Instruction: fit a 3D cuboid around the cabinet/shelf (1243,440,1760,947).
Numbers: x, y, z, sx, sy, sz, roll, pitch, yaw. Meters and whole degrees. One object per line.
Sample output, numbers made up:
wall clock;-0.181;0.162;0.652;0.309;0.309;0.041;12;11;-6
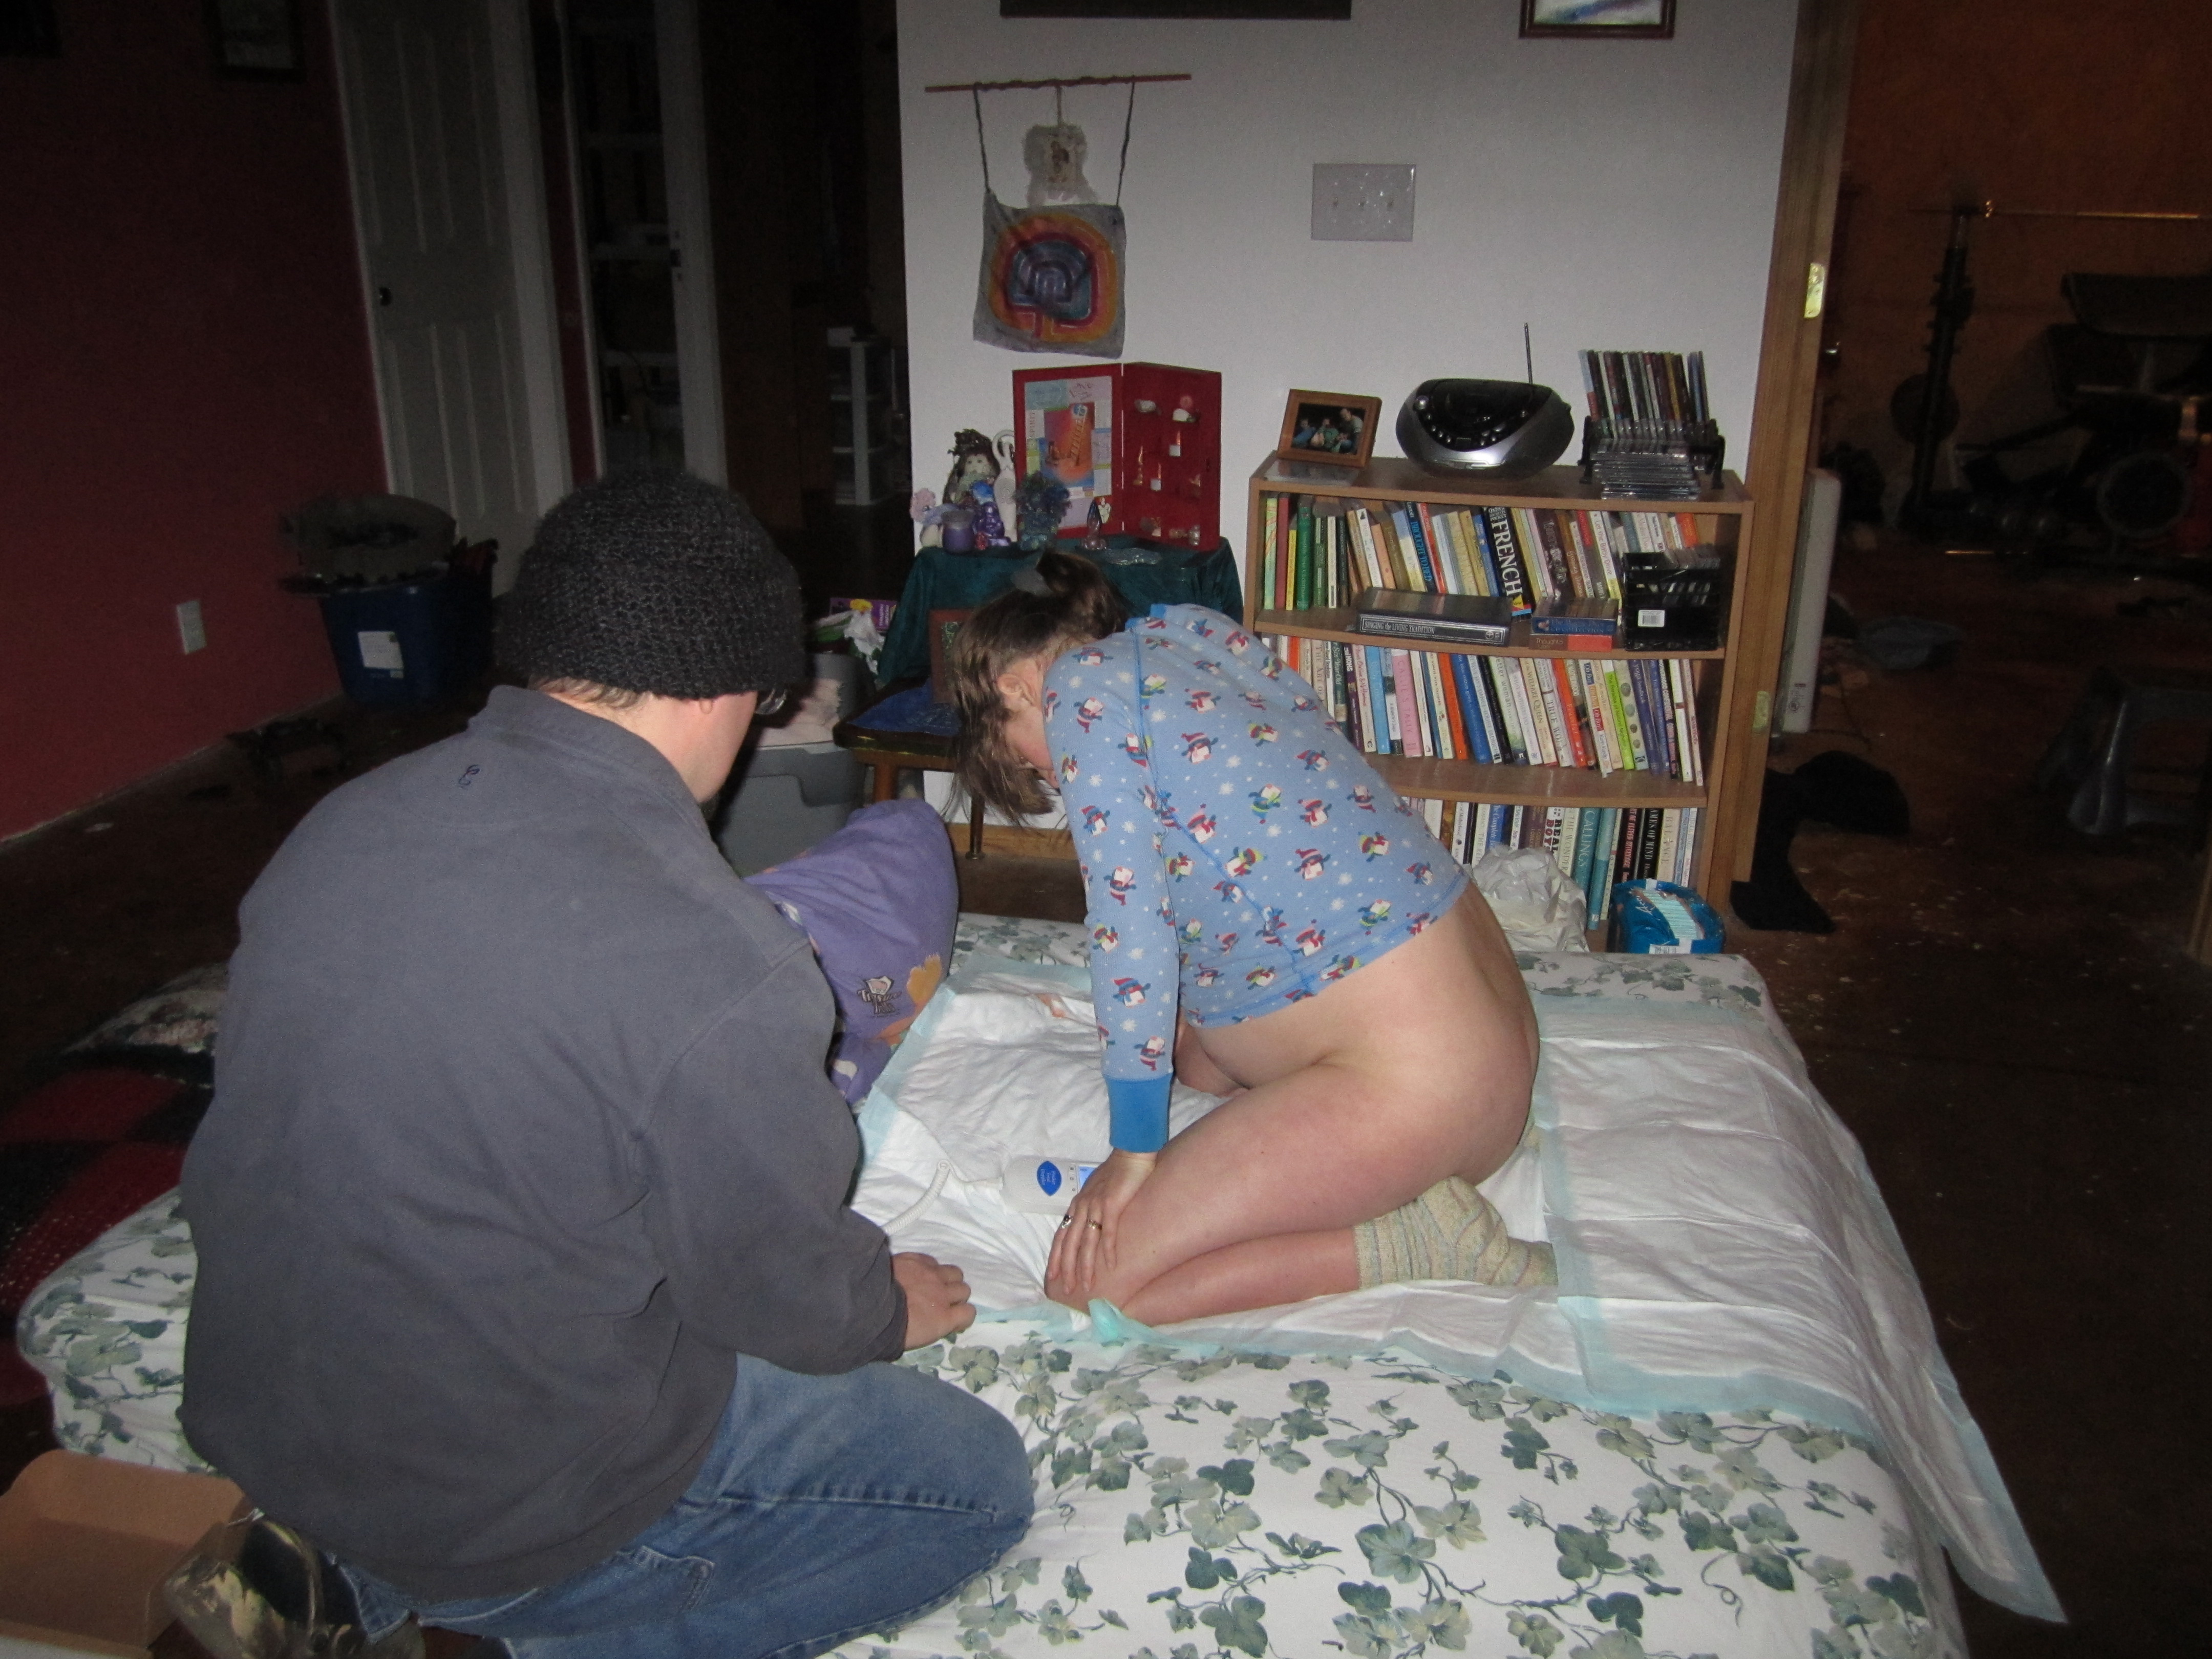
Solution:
cabinet/shelf;0.830;-0.307;3.261;1.042;0.984;0.404;3;15;8

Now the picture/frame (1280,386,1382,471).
picture/frame;0.523;-0.930;3.729;0.220;0.167;0.024;14;-2;20

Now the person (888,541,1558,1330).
person;0.193;0.096;2.300;0.747;1.003;0.829;-11;14;-6

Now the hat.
hat;-0.432;-0.232;1.518;0.232;0.159;0.231;9;17;1

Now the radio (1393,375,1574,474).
radio;0.843;-0.892;3.561;0.372;0.202;0.227;2;18;6
